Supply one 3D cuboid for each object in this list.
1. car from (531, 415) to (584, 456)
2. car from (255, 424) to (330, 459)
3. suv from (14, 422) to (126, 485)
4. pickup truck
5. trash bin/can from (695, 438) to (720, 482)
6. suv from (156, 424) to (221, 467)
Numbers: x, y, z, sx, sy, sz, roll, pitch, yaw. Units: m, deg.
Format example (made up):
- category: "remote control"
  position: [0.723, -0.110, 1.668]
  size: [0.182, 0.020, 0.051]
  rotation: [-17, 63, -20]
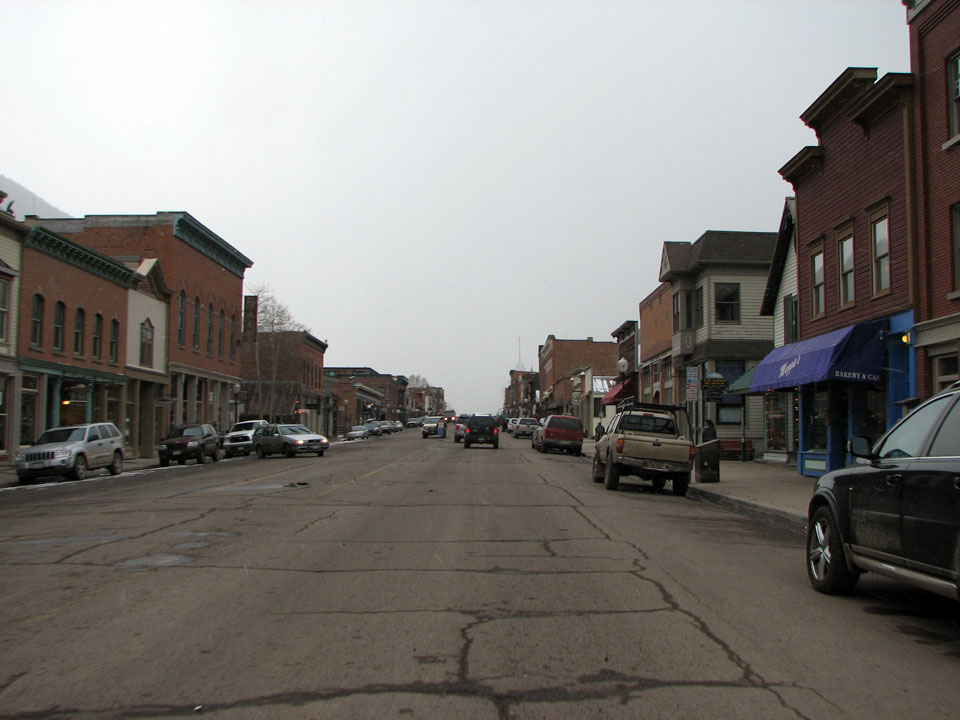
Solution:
- category: "car"
  position: [4.373, 4.065, 42.799]
  size: [2.453, 2.161, 1.649]
  rotation: [-4, -9, 17]
- category: "car"
  position: [-9.992, 4.116, 40.566]
  size: [3.824, 1.752, 1.953]
  rotation: [-8, -11, 33]
- category: "suv"
  position: [-14.136, 3.115, 26.965]
  size: [1.505, 1.262, 3.035]
  rotation: [-3, -10, 4]
- category: "pickup truck"
  position: [4.351, 2.414, 22.185]
  size: [1.655, 1.861, 3.287]
  rotation: [4, -4, -3]
- category: "trash bin/can"
  position: [6.742, 2.994, 23.345]
  size: [0.693, 1.332, 1.084]
  rotation: [-3, -9, 15]
- category: "suv"
  position: [-13.412, 3.865, 35.880]
  size: [1.673, 2.029, 2.888]
  rotation: [-2, -9, 5]
